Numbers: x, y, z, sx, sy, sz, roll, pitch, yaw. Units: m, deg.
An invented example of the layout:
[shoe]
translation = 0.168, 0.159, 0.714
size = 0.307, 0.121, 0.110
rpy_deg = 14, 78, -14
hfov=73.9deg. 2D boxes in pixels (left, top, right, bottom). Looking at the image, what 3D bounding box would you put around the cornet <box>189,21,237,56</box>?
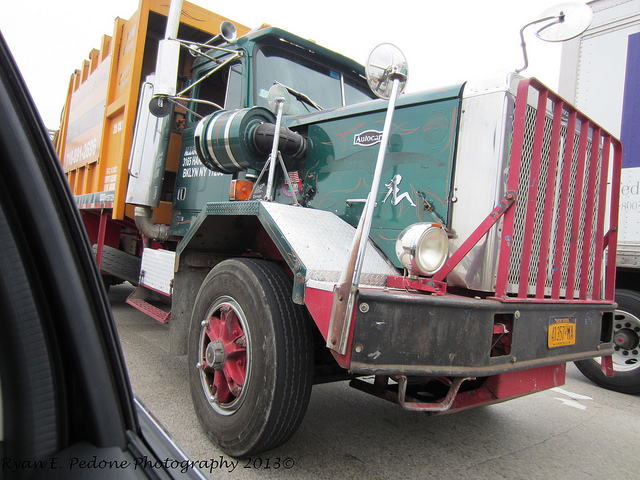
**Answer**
[cornet]
translation = -0.887, -1.808, 3.712
size = 0.366, 0.417, 0.335
rpy_deg = -8, 20, -42
